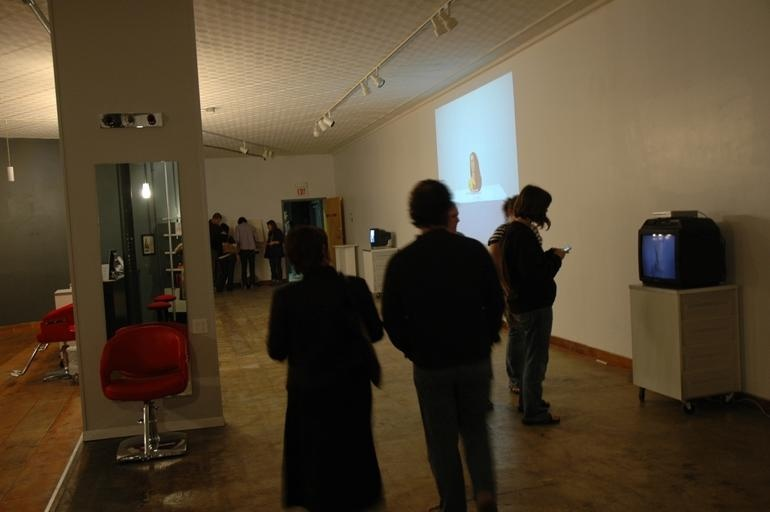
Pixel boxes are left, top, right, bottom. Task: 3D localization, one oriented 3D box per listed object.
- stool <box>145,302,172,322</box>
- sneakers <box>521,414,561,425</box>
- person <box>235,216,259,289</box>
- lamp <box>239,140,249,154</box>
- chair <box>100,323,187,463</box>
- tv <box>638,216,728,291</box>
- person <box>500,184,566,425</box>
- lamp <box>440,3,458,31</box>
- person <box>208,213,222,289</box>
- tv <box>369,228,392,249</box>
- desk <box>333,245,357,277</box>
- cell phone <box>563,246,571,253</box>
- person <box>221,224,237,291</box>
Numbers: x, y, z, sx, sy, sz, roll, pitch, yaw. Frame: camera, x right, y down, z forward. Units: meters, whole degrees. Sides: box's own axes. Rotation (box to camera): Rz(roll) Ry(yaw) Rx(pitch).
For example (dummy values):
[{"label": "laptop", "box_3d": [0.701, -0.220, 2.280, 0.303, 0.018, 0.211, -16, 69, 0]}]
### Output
[{"label": "stool", "box_3d": [-2.382, 0.568, 5.780, 0.196, 0.219, 0.196, -2, 3, -31]}, {"label": "sneakers", "box_3d": [1.539, 1.608, 5.354, 0.343, 0.107, 0.137, -1, 0, -13]}, {"label": "person", "box_3d": [-3.908, -0.115, 15.461, 0.553, 1.953, 1.041, -4, 7, -15]}, {"label": "lamp", "box_3d": [-3.664, -2.866, 14.507, 0.162, 0.300, 0.545, -1, 21, -23]}, {"label": "chair", "box_3d": [-2.384, 1.320, 5.475, 0.852, 1.204, 0.709, -4, 7, -13]}, {"label": "tv", "box_3d": [3.033, -0.038, 5.699, 0.743, 0.718, 0.729, 0, -1, -10]}, {"label": "person", "box_3d": [1.418, 0.495, 5.234, 0.583, 2.308, 0.699, 0, 7, 19]}, {"label": "lamp", "box_3d": [0.784, -2.895, 6.696, 0.186, 0.351, 0.487, -1, 8, 7]}, {"label": "person", "box_3d": [-4.590, -0.145, 14.950, 0.289, 1.993, 0.890, -4, 8, -18]}, {"label": "tv", "box_3d": [-0.081, -0.402, 12.870, 0.442, 0.346, 0.432, 1, -1, -24]}, {"label": "desk", "box_3d": [-0.941, 0.095, 13.419, 0.308, 0.698, 0.727, 1, -3, -30]}, {"label": "cell phone", "box_3d": [2.053, -0.070, 6.125, 0.054, 0.063, 0.170, -26, 1, 7]}, {"label": "person", "box_3d": [-4.295, 0.003, 15.086, 0.371, 1.757, 0.738, -4, 7, -15]}]
